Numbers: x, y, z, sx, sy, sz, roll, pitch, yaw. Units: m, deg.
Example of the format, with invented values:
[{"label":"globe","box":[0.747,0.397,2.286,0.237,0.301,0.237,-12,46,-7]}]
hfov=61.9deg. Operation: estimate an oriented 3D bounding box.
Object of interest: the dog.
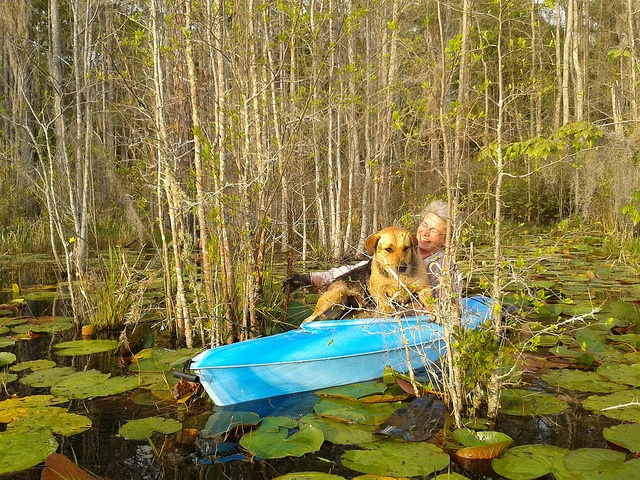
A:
[{"label":"dog","box":[0.495,0.397,4.991,1.030,0.626,1.353,1,-18,-27]}]

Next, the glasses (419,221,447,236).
[{"label":"glasses","box":[1.121,-0.122,5.426,0.177,0.051,0.179,17,-6,37]}]

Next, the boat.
[{"label":"boat","box":[0.218,0.966,4.505,2.573,0.463,0.589,-9,13,-13]}]
